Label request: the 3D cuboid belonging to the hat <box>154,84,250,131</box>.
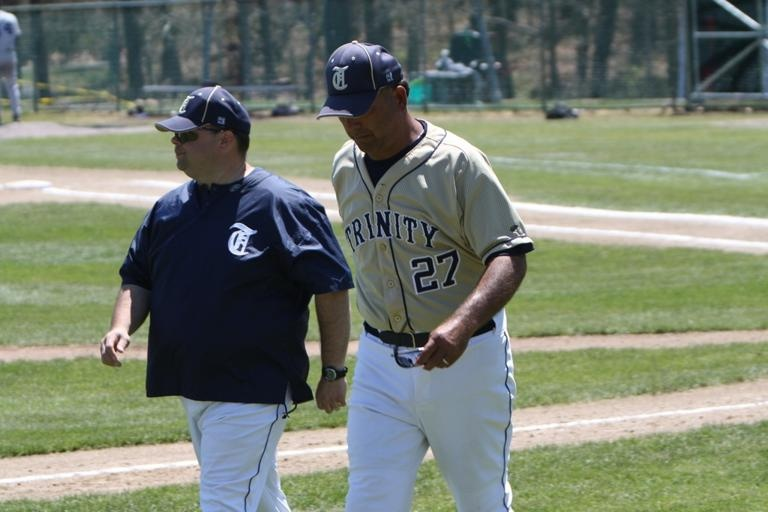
[{"bbox_3d":[-1.725,-1.360,17.325,0.830,0.301,0.423,4,4,-10],"label":"hat"}]
